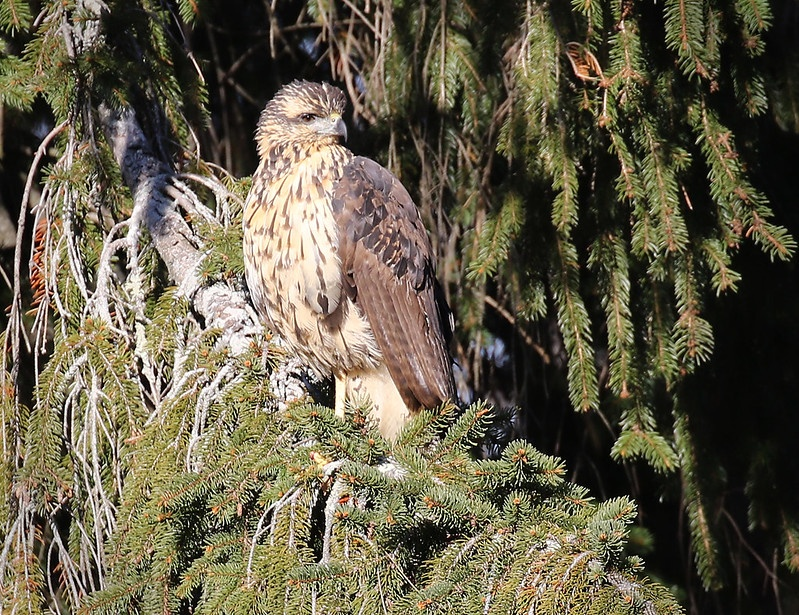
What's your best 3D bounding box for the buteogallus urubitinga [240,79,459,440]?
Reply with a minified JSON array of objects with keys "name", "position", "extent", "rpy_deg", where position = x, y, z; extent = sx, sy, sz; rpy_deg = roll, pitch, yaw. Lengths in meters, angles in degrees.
[{"name":"buteogallus urubitinga","position":[-0.200,-0.131,8.199],"extent":[0.802,2.176,1.095],"rpy_deg":[-20,-24,41]}]
